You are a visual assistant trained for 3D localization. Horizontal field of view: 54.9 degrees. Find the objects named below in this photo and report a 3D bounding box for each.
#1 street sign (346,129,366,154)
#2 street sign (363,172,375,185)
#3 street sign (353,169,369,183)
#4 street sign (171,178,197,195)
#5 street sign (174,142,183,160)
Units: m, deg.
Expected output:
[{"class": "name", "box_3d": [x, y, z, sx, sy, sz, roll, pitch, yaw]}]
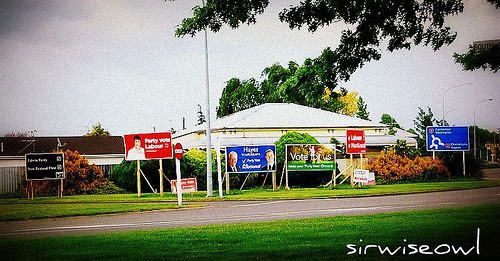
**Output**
[{"class": "street sign", "box_3d": [9.436, 0.976, 42.947, 2.425, 2.668, 0.265, -2, 6, -7]}, {"class": "street sign", "box_3d": [11.097, 4.572, 45.047, 1.028, 1.270, 1.328, 0, -1, 0]}, {"class": "street sign", "box_3d": [9.857, 4.023, 42.593, 1.292, 1.119, 0.185, -3, -12, 33]}, {"class": "street sign", "box_3d": [-5.141, 4.231, 37.234, 1.416, 1.093, 1.916, 3, -7, -28]}, {"class": "street sign", "box_3d": [-5.092, 1.435, 34.119, 0.449, 1.159, 0.562, 1, -5, -19]}]
